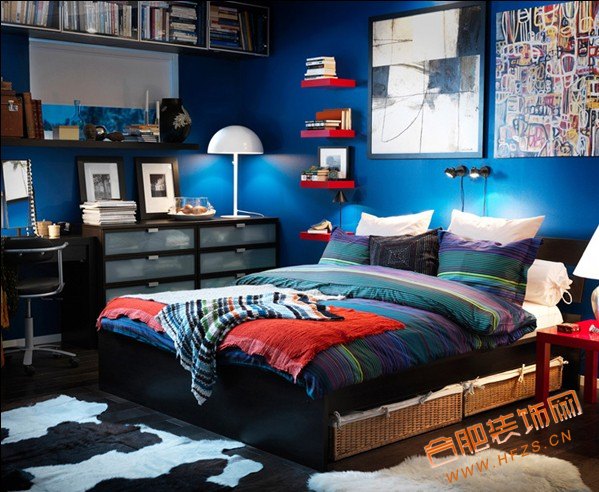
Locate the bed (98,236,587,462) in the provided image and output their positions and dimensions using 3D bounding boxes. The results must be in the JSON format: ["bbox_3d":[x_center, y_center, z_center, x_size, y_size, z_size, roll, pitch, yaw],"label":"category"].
[{"bbox_3d":[0.041,0.482,3.603,2.105,0.838,2.224,8,7,33],"label":"bed"}]

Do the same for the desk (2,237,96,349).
[{"bbox_3d":[-2.069,0.367,4.235,0.415,0.892,1.006,2,4,39],"label":"desk"}]

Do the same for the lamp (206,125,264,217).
[{"bbox_3d":[-0.686,-0.804,5.549,0.600,0.689,0.643,0,1,-8],"label":"lamp"}]

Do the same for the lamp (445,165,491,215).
[{"bbox_3d":[1.372,-0.455,4.083,0.441,0.490,0.185,1,-2,39],"label":"lamp"}]

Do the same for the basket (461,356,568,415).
[{"bbox_3d":[1.236,0.785,3.143,0.401,0.091,0.400,-4,3,-35],"label":"basket"}]

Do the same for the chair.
[{"bbox_3d":[-2.068,0.423,4.127,0.464,0.965,0.958,0,1,-24],"label":"chair"}]

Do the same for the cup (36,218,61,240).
[{"bbox_3d":[-2.144,-0.154,4.363,0.279,0.182,0.180,7,8,43],"label":"cup"}]

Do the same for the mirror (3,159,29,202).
[{"bbox_3d":[-2.434,-0.580,4.393,0.302,0.301,0.074,-11,7,-44],"label":"mirror"}]

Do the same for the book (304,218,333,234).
[{"bbox_3d":[0.210,-0.183,4.889,0.225,0.092,0.123,1,0,-37],"label":"book"}]

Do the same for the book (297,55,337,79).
[{"bbox_3d":[0.195,-1.662,4.817,0.277,0.160,0.177,0,1,8],"label":"book"}]

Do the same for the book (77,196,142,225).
[{"bbox_3d":[-1.735,-0.310,4.620,0.476,0.245,0.297,0,1,-15],"label":"book"}]

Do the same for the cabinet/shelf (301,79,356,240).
[{"bbox_3d":[0.276,-0.884,4.900,0.562,1.204,0.384,0,0,21],"label":"cabinet/shelf"}]
